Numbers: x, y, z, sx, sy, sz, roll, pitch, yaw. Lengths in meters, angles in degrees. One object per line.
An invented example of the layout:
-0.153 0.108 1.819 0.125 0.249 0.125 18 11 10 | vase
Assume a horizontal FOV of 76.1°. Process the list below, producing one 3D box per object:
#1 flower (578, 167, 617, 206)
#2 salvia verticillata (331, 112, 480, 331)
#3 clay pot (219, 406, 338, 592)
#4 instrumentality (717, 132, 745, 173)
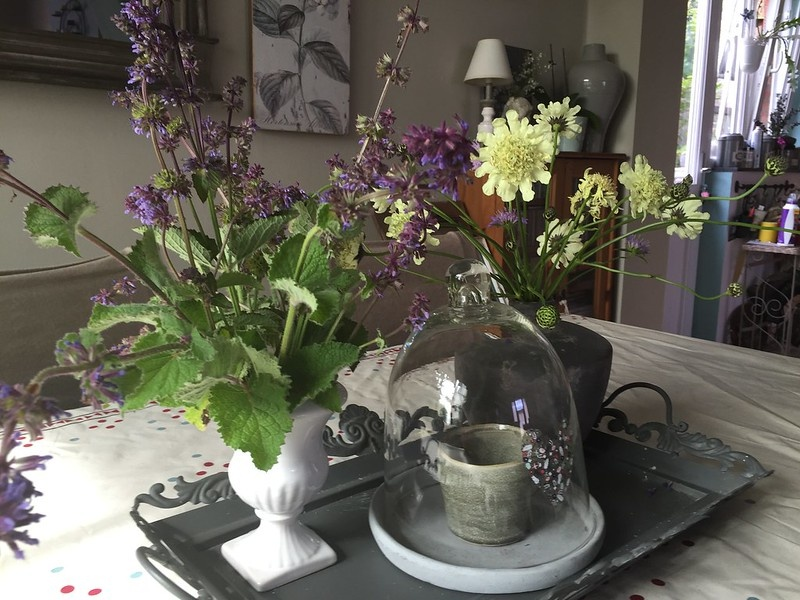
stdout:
0.256 -0.150 0.673 0.051 0.025 0.051 18 24 11 | flower
0.010 -0.054 0.431 0.111 0.174 0.100 9 15 36 | salvia verticillata
-0.115 0.175 0.490 0.094 0.160 0.087 0 13 0 | clay pot
2.478 -1.123 3.854 0.178 0.236 0.139 6 14 28 | instrumentality
